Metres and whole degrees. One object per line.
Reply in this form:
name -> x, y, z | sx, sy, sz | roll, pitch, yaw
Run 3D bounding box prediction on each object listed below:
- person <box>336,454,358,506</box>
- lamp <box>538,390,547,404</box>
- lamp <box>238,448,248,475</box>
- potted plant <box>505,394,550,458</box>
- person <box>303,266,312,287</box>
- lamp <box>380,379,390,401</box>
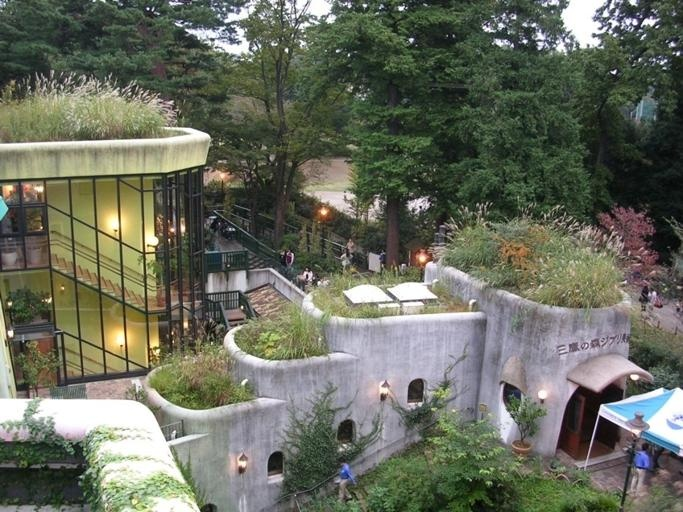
person -> 0.150, 7.333, 20.569 | 0.893, 1.770, 0.712 | -8, -15, 30
lamp -> 6.550, 4.587, 20.524 | 0.317, 0.505, 0.188 | 4, 9, 19
lamp -> -3.038, 6.408, 19.455 | 0.329, 0.727, 0.174 | -3, 9, -25
potted plant -> 6.071, 5.591, 20.750 | 1.219, 1.987, 0.721 | 4, 9, 23
person -> -1.577, 1.047, 29.822 | 0.409, 0.792, 1.826 | 0, 9, -5
lamp -> 1.498, 4.570, 21.316 | 0.394, 0.770, 0.191 | 0, 8, -8
